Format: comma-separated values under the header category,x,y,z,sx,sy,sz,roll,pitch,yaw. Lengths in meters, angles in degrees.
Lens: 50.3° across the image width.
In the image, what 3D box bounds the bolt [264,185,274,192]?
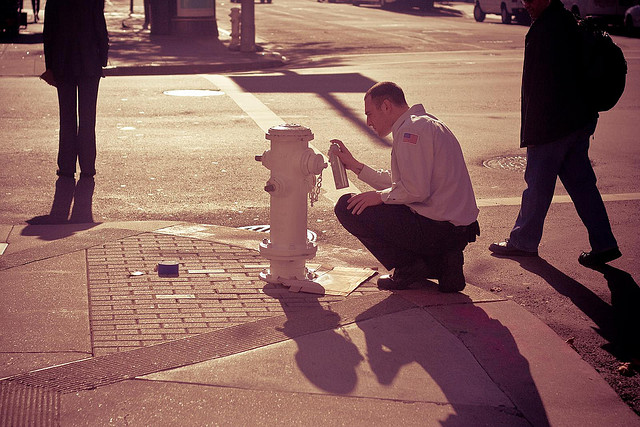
category,x,y,z,sx,sy,sz,roll,pitch,yaw
bolt,-0.423,-0.208,5.603,0.055,0.064,0.088,-8,18,-33

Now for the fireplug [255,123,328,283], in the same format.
category,x,y,z,sx,sy,sz,roll,pitch,yaw
fireplug,-0.256,-0.068,5.718,0.581,1.324,0.344,2,16,-3

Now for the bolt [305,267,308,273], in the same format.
category,x,y,z,sx,sy,sz,roll,pitch,yaw
bolt,-0.120,0.504,6.057,0.036,0.034,0.034,-1,9,-7

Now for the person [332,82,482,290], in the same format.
category,x,y,z,sx,sy,sz,roll,pitch,yaw
person,0.772,-0.210,5.648,1.112,1.678,0.441,5,16,10

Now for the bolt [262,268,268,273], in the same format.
category,x,y,z,sx,sy,sz,roll,pitch,yaw
bolt,-0.479,0.491,5.946,0.034,0.028,0.052,0,-13,-5

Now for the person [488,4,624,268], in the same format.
category,x,y,z,sx,sy,sz,roll,pitch,yaw
person,2.292,-0.728,6.450,1.086,2.392,0.479,6,16,12
